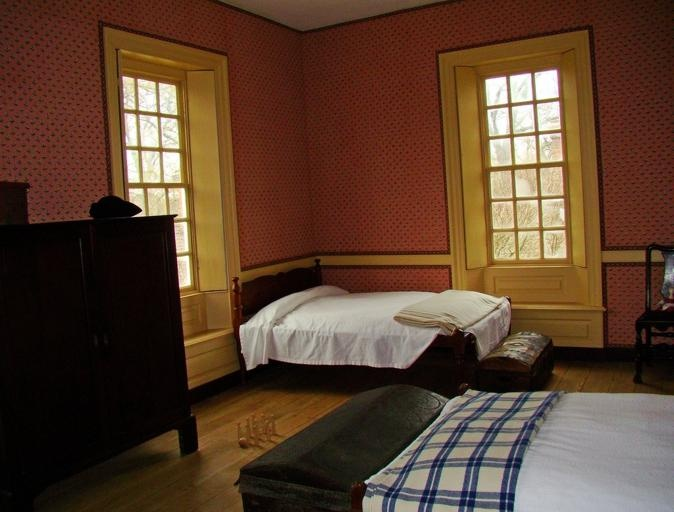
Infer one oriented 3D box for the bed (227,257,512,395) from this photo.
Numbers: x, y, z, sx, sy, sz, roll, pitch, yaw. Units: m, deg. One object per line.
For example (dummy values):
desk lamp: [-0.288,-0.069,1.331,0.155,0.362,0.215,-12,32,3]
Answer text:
bed: [0.202,0.780,5.629,2.037,0.935,1.542,1,3,20]
